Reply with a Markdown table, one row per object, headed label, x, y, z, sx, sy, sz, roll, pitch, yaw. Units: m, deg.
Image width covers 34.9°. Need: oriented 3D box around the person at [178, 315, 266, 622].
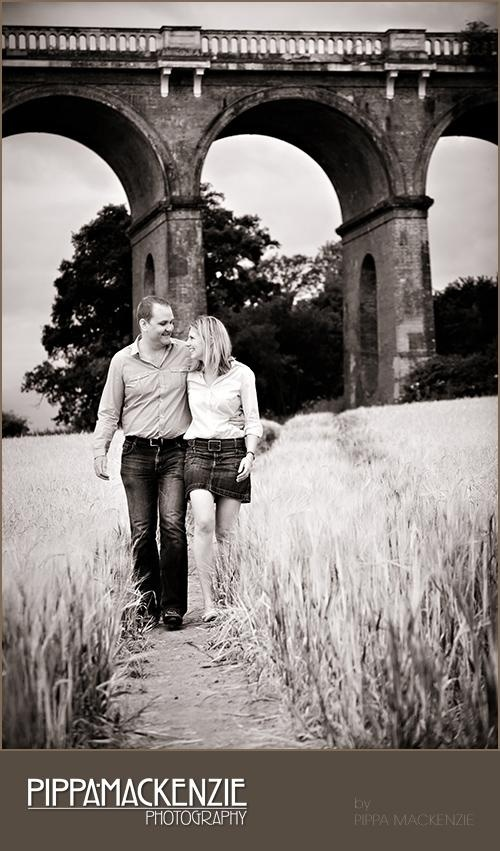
| label | x | y | z | sx | sy | sz | roll | pitch | yaw |
| --- | --- | --- | --- | --- | --- | --- | --- | --- | --- |
| person | -0.146 | 0.247 | 4.410 | 0.425 | 1.660 | 0.405 | -4 | 8 | -6 |
